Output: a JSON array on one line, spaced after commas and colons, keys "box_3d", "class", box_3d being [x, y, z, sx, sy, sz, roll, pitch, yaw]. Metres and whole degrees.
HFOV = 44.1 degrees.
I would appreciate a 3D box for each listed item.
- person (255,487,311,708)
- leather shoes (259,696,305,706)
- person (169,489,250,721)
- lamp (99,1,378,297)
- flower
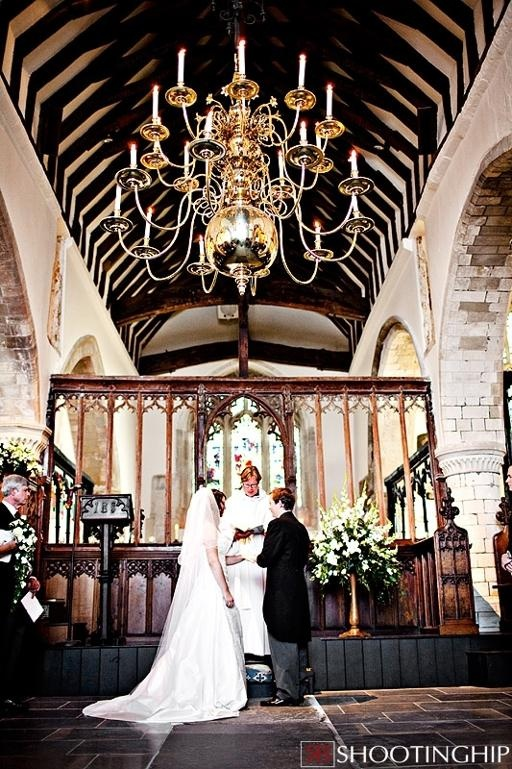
[{"box_3d": [0.162, 1.201, 3.653, 0.303, 1.188, 0.342, -3, -15, 4], "class": "person"}, {"box_3d": [0.138, 1.729, 3.425, 0.236, 0.049, 0.147, -1, -14, -2], "class": "leather shoes"}, {"box_3d": [-0.267, 1.112, 3.378, 0.387, 1.114, 0.828, 0, -15, -8], "class": "person"}, {"box_3d": [-0.080, -1.737, 4.095, 1.553, 2.046, 1.579, -1, 2, 13], "class": "lamp"}, {"box_3d": [0.834, 1.419, 5.397, 0.698, 0.884, 0.940, -5, -15, 12], "class": "flower"}]
